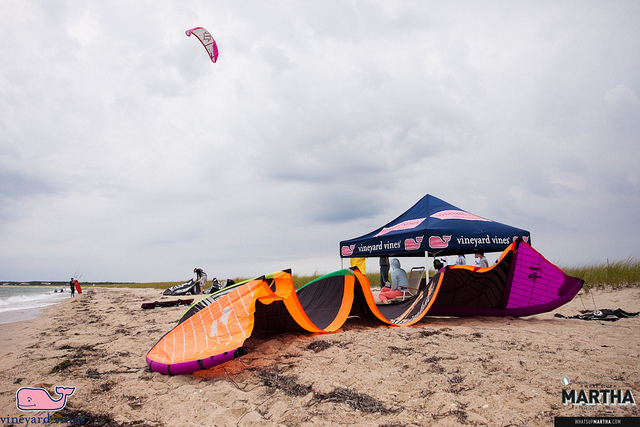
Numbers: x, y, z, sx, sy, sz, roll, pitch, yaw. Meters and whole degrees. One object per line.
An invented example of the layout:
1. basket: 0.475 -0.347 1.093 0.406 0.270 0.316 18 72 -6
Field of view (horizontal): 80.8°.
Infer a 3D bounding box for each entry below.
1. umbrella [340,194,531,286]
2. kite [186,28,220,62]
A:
1. umbrella: 3.731 0.732 12.186 3.753 2.047 4.058 3 -10 -14
2. kite: -4.085 -6.206 13.417 1.012 0.498 1.164 13 -10 4
